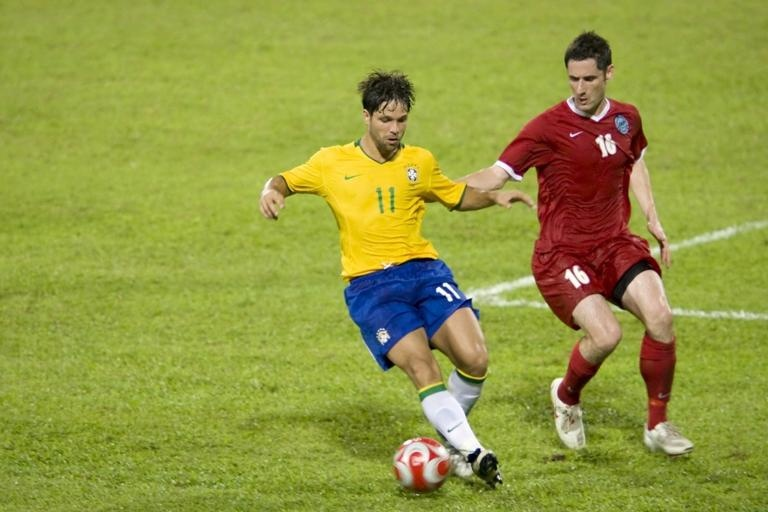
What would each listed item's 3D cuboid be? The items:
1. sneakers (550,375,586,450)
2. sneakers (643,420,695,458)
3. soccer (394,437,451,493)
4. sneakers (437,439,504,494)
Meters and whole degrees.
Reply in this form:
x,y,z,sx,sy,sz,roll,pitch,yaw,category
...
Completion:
x,y,z,sx,sy,sz,roll,pitch,yaw,category
1.424,1.256,9.321,0.209,0.593,0.242,-11,-4,-9,sneakers
2.202,1.432,9.176,0.196,0.239,0.511,-11,9,-25,sneakers
0.300,1.567,8.643,0.384,0.300,0.381,9,-19,-22,soccer
0.591,1.564,8.760,0.186,0.280,0.637,-22,15,-21,sneakers
